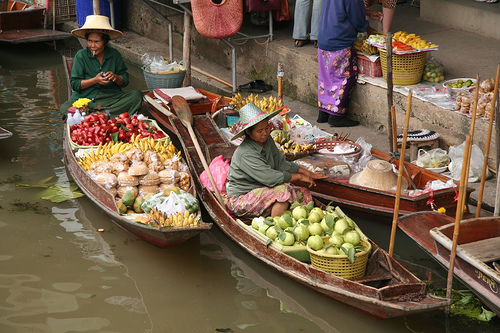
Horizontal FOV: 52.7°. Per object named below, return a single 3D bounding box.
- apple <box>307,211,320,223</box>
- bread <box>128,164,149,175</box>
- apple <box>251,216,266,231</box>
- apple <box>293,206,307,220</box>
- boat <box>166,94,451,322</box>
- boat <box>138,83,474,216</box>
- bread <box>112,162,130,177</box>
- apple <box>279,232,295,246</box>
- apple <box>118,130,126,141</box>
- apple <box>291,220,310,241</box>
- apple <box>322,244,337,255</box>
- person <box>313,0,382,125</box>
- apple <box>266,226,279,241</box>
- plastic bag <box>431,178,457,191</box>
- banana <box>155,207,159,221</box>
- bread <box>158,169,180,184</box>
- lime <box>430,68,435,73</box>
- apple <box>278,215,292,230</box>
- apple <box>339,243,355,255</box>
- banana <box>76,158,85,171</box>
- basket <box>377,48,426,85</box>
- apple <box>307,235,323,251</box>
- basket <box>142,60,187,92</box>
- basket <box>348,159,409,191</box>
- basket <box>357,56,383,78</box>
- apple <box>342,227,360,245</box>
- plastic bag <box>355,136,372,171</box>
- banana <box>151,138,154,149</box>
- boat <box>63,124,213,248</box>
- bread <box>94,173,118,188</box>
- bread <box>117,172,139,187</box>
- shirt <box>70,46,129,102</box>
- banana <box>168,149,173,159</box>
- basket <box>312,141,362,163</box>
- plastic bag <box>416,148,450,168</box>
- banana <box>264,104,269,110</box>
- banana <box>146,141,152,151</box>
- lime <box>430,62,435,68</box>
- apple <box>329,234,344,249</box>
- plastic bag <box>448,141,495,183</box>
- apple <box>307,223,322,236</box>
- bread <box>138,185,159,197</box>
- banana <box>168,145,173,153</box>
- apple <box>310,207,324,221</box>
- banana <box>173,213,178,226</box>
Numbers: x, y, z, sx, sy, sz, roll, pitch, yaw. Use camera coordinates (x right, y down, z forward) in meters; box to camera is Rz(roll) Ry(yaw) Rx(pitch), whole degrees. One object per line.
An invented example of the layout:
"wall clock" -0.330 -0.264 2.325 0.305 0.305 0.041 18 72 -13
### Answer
"apple" 0.659 0.510 5.195 0.115 0.099 0.099 25 -16 -3
"bread" -1.286 0.036 5.779 0.138 0.061 0.130 -4 12 -24
"apple" 0.080 0.591 5.353 0.119 0.126 0.123 -32 10 4
"apple" 0.502 0.483 5.246 0.120 0.115 0.135 33 33 -34
"boat" -0.003 0.505 6.054 1.197 0.731 5.006 -25 40 -24
"boat" 0.724 -0.183 6.288 0.762 0.432 2.908 -22 36 -36
"bread" -1.517 0.017 5.854 0.136 0.063 0.167 6 36 9
"apple" 0.378 0.733 5.059 0.118 0.079 0.139 -14 40 -10
"apple" -1.661 -0.399 6.517 0.094 0.091 0.109 -9 -2 -23
"apple" 0.541 0.650 5.168 0.182 0.255 0.195 -13 -14 35
"apple" 0.762 0.775 4.813 0.140 0.058 0.146 4 22 8
"person" 1.499 -1.511 7.589 0.879 2.176 0.783 -31 49 -25
"apple" 0.223 0.678 5.173 0.122 0.142 0.115 -15 -1 14
"plastic bag" 2.213 0.205 5.791 0.170 0.056 0.167 -4 15 -2
"banana" -1.002 0.498 5.411 0.031 0.123 0.044 4 -20 -25
"bread" -0.942 0.118 5.872 0.168 0.098 0.168 -2 5 5
"lime" 2.708 -1.412 7.476 0.059 0.061 0.052 2 22 6
"apple" 0.367 0.563 5.265 0.119 0.142 0.120 11 23 20
"apple" 0.925 0.784 4.823 0.122 0.103 0.101 15 -25 -9
"banana" -2.071 -0.031 6.157 0.030 0.044 0.193 36 17 -54
"basket" 2.215 -1.436 7.352 0.594 0.413 0.543 5 20 12
"apple" 0.638 0.721 4.880 0.127 0.154 0.129 -15 15 16
"basket" -1.299 -1.405 8.153 0.575 0.311 0.587 22 35 38
"basket" 1.506 0.107 5.935 0.450 0.170 0.442 -15 33 -26
"basket" 1.805 -1.501 7.680 0.346 0.213 0.341 -15 29 -33
"apple" 0.986 0.672 4.896 0.146 0.188 0.148 -7 13 -21
"plastic bag" 1.476 -0.168 6.555 0.192 0.159 0.446 -9 38 12
"banana" -1.224 -0.284 6.312 0.034 0.142 0.021 2 -16 -18
"boat" -1.538 0.395 5.931 0.827 0.476 2.262 -22 46 -26
"bread" -1.641 0.124 5.768 0.173 0.091 0.176 21 19 17
"bread" -1.391 0.151 5.766 0.171 0.086 0.168 3 15 -18
"shirt" -2.221 -1.415 7.556 0.880 0.851 0.506 -8 28 -19
"banana" -0.990 -0.146 6.304 0.018 0.076 0.046 -17 -7 30
"basket" 1.171 -0.246 6.843 0.682 0.255 0.708 2 9 34
"plastic bag" 2.313 -0.099 6.372 0.329 0.132 0.242 -9 11 -19
"banana" 0.244 -0.842 7.208 0.063 0.062 0.016 6 -9 23
"banana" -1.270 -0.254 6.289 0.025 0.172 0.036 -26 -23 12
"lime" 2.721 -1.497 7.515 0.066 0.066 0.093 6 23 15
"apple" 0.828 0.702 4.912 0.130 0.107 0.110 37 30 -18
"plastic bag" 2.680 -0.050 6.104 0.490 0.604 0.203 3 -15 -7
"apple" 0.650 0.619 5.021 0.120 0.118 0.117 -25 36 -25
"bread" -1.184 0.262 5.785 0.147 0.086 0.147 -6 10 -11
"banana" -1.003 -0.222 6.363 0.058 0.086 0.020 -3 -13 -45
"apple" 0.710 0.477 5.187 0.113 0.110 0.131 2 44 -45
"banana" -0.791 0.555 5.337 0.025 0.036 0.138 -11 60 3
